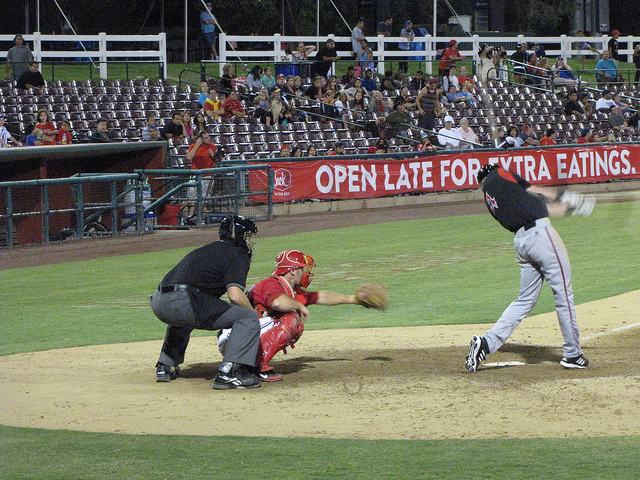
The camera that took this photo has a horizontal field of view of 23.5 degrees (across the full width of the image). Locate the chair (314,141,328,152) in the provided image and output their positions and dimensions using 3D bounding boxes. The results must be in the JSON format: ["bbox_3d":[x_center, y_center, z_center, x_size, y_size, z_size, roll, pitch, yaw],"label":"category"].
[{"bbox_3d":[0.020,-2.562,42.068,0.292,0.299,0.299,1,-5,-7],"label":"chair"}]

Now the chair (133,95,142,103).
[{"bbox_3d":[-5.103,-3.911,42.573,0.252,0.154,0.231,0,-1,-6],"label":"chair"}]

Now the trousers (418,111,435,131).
[{"bbox_3d":[3.095,-3.451,44.517,0.492,0.467,0.430,-1,7,0],"label":"trousers"}]

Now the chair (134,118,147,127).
[{"bbox_3d":[-4.873,-3.182,41.336,0.335,0.247,0.303,0,-5,-1],"label":"chair"}]

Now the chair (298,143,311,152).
[{"bbox_3d":[-0.419,-2.485,41.194,0.291,0.184,0.282,1,1,29],"label":"chair"}]

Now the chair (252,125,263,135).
[{"bbox_3d":[-1.691,-2.974,41.335,0.327,0.276,0.221,-2,6,2],"label":"chair"}]

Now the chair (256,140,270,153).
[{"bbox_3d":[-1.539,-2.491,40.905,0.345,0.263,0.333,1,-2,-6],"label":"chair"}]

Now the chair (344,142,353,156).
[{"bbox_3d":[0.769,-2.565,42.477,0.292,0.324,0.294,0,-1,-13],"label":"chair"}]

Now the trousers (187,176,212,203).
[{"bbox_3d":[-2.899,-1.213,36.582,0.565,0.654,0.367,-1,7,-6],"label":"trousers"}]

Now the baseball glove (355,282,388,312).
[{"bbox_3d":[0.895,0.952,25.834,0.748,0.315,0.639,3,-6,-4],"label":"baseball glove"}]
